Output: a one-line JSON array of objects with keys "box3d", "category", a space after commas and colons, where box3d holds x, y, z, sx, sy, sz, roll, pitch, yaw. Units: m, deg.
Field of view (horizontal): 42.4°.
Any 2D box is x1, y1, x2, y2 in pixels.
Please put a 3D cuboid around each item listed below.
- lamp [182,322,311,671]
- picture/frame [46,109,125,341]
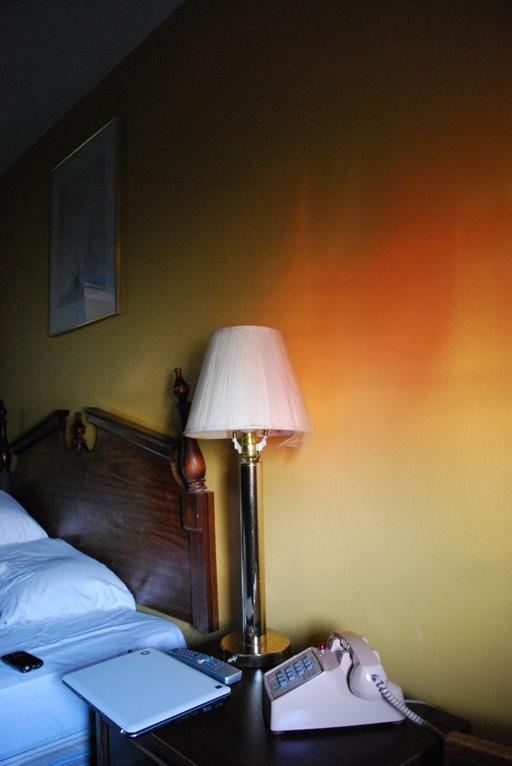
[{"box3d": [-0.013, 0.230, 1.368, 0.241, 0.691, 0.317, 0, 3, 4], "category": "lamp"}, {"box3d": [-0.650, -0.552, 2.470, 0.030, 0.684, 0.652, -4, 5, -38], "category": "picture/frame"}]
